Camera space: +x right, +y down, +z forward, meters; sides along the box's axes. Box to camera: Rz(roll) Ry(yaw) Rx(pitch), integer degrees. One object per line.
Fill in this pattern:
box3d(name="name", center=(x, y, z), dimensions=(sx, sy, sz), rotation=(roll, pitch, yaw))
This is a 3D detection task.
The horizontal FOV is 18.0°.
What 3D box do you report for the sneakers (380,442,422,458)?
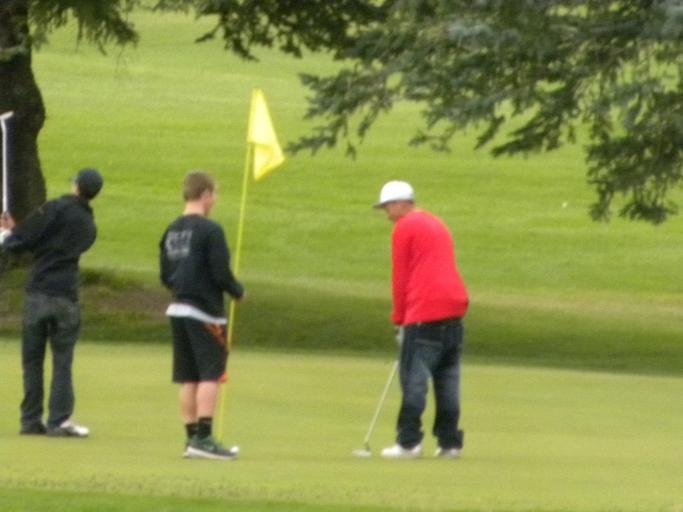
box3d(name="sneakers", center=(1.004, 3.226, 35.940), dimensions=(0.691, 0.277, 0.248), rotation=(2, -2, 2))
